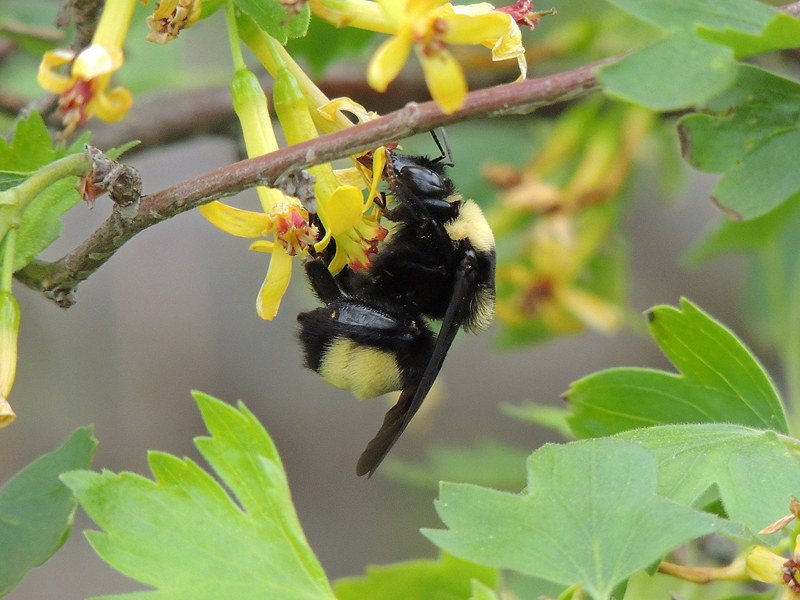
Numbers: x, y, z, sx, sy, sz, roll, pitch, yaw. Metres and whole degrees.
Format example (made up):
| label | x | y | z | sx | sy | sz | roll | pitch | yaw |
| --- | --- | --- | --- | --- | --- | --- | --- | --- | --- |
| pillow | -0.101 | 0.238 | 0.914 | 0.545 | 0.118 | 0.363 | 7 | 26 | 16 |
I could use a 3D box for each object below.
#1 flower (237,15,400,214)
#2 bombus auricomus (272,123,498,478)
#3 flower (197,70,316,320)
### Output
| label | x | y | z | sx | sy | sz | roll | pitch | yaw |
| --- | --- | --- | --- | --- | --- | --- | --- | --- | --- |
| flower | -0.082 | -0.198 | 0.923 | 0.079 | 0.162 | 0.152 | -42 | 7 | -20 |
| bombus auricomus | 0.001 | -0.025 | 1.147 | 0.122 | 0.410 | 0.299 | 11 | -21 | 9 |
| flower | -0.132 | -0.078 | 0.897 | 0.124 | 0.172 | 0.055 | 12 | -15 | 8 |
